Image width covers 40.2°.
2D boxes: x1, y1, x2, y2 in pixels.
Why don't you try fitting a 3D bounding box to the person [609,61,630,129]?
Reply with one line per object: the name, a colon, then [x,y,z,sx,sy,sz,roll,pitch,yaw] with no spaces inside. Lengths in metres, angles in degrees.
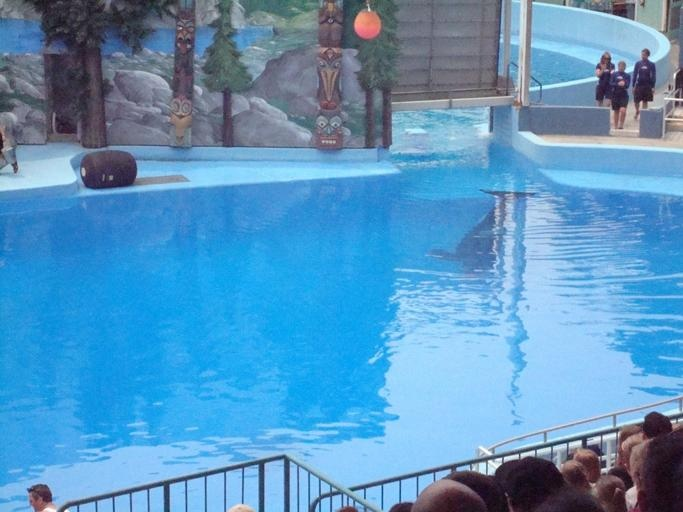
person: [6.420,-3.704,21.647,0.413,1.505,2.169,1,7,16]
